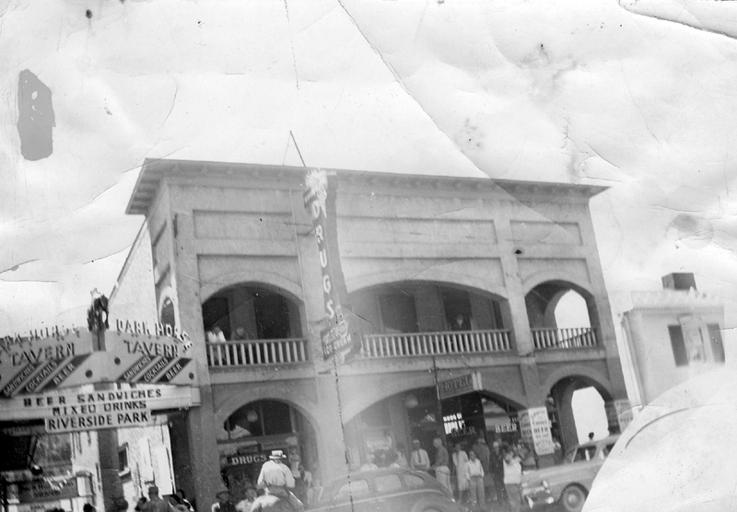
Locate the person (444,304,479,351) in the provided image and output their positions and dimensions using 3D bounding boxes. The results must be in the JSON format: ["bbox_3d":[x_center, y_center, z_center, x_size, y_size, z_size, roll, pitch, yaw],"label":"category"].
[{"bbox_3d":[1.490,1.167,12.622,0.515,0.830,0.188,2,-24,-17],"label":"person"}]
